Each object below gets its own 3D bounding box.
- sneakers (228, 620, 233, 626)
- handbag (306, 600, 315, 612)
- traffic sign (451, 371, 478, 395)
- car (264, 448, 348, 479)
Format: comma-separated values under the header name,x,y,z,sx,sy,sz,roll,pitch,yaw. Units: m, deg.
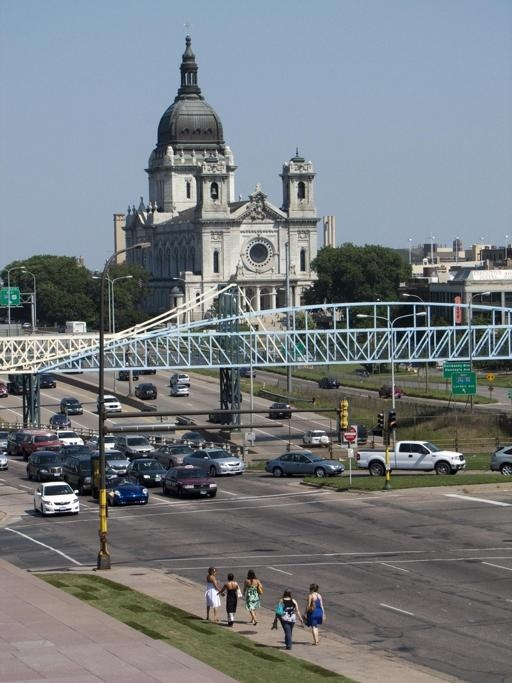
name,x,y,z,sx,sy,sz,roll,pitch,yaw
sneakers,-0.608,6.320,43.944,0.116,0.125,0.210,-1,-8,-1
handbag,1.153,5.595,41.667,0.138,0.300,0.231,2,-4,-13
traffic sign,10.372,1.781,96.743,1.150,1.274,0.169,0,-1,3
car,1.815,4.477,73.029,1.067,0.948,3.720,5,-5,-36
